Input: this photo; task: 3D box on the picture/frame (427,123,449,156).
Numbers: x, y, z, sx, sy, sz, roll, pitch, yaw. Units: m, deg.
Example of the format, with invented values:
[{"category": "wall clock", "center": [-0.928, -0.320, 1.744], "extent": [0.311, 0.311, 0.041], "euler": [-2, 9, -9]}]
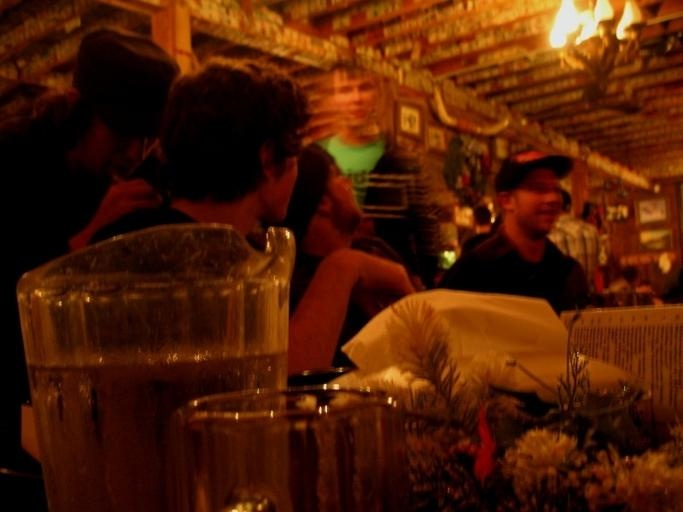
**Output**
[{"category": "picture/frame", "center": [0.172, -0.208, 1.276], "extent": [0.049, 0.064, 0.008], "euler": [0, 1, 15]}]

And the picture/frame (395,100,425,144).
[{"category": "picture/frame", "center": [0.124, -0.239, 1.281], "extent": [0.064, 0.079, 0.010], "euler": [3, 4, -1]}]
